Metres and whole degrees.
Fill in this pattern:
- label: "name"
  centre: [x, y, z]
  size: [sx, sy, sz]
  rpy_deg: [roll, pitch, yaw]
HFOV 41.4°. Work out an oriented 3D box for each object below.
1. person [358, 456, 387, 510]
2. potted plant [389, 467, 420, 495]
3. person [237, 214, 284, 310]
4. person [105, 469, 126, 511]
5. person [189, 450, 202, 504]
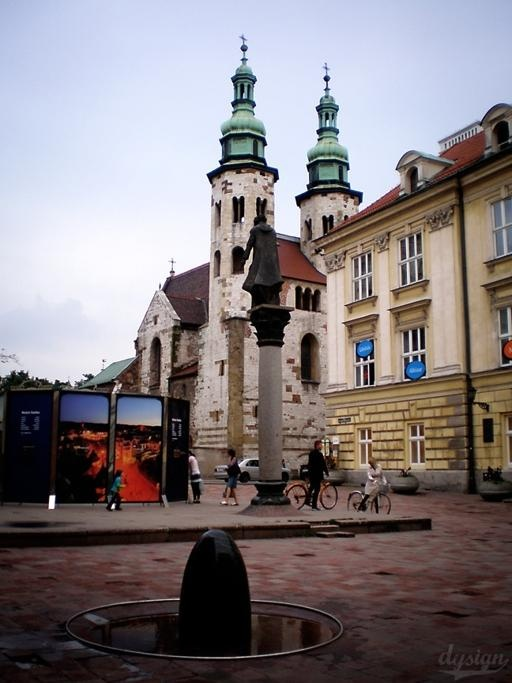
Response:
- label: "person"
  centre: [2.886, 3.599, 17.128]
  size: [0.669, 1.244, 2.122]
  rpy_deg: [-2, -10, 9]
- label: "potted plant"
  centre: [5.370, 5.083, 24.570]
  size: [0.985, 0.896, 0.954]
  rpy_deg: [5, -5, -34]
- label: "person"
  centre: [0.124, -1.885, 15.331]
  size: [0.870, 2.457, 1.269]
  rpy_deg: [0, -10, -2]
- label: "person"
  centre: [-3.408, 3.543, 16.248]
  size: [0.344, 0.902, 1.132]
  rpy_deg: [2, -10, -10]
- label: "person"
  centre: [-1.786, 3.854, 19.161]
  size: [0.362, 1.365, 1.006]
  rpy_deg: [1, -10, -6]
